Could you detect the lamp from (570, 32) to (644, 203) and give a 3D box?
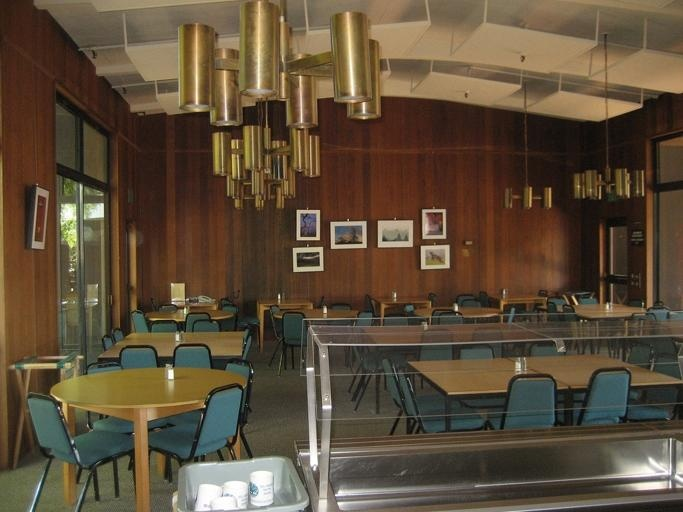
[{"bbox_3d":[4.235,-1.944,10.650,1.099,2.165,4.254,3,5,20],"label":"lamp"}]

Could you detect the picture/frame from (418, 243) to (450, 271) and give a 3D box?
[{"bbox_3d":[1.643,0.008,12.314,0.466,0.399,0.041,1,-2,-11],"label":"picture/frame"}]

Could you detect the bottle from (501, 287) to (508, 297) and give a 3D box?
[{"bbox_3d":[2.901,0.646,12.111,0.171,0.171,0.107,-2,5,0],"label":"bottle"}]

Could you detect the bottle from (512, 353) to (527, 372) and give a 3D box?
[{"bbox_3d":[1.175,0.709,4.482,0.087,0.122,0.031,1,5,5],"label":"bottle"}]

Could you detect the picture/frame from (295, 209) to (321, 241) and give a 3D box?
[{"bbox_3d":[-0.610,-0.545,11.912,0.534,0.660,0.029,1,-6,-14],"label":"picture/frame"}]

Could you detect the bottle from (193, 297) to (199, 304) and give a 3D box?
[{"bbox_3d":[-2.430,0.730,11.378,0.066,0.081,0.217,-2,2,-2],"label":"bottle"}]

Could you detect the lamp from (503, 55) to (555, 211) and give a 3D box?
[{"bbox_3d":[2.930,-1.768,10.695,0.799,2.108,4.448,3,5,17],"label":"lamp"}]

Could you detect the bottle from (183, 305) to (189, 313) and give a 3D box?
[{"bbox_3d":[-2.342,0.792,10.272,0.069,0.130,0.071,0,-3,0],"label":"bottle"}]

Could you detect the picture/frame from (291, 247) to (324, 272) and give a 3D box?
[{"bbox_3d":[-0.622,0.051,11.907,0.427,0.358,0.019,0,-5,-10],"label":"picture/frame"}]

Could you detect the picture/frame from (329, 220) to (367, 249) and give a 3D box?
[{"bbox_3d":[0.078,-0.385,12.049,0.497,0.361,0.012,1,-3,-12],"label":"picture/frame"}]

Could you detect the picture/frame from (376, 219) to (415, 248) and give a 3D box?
[{"bbox_3d":[0.919,-0.414,12.178,0.501,0.364,0.013,1,-3,-12],"label":"picture/frame"}]
